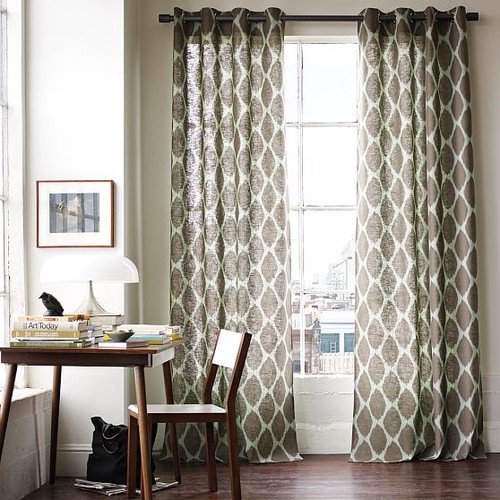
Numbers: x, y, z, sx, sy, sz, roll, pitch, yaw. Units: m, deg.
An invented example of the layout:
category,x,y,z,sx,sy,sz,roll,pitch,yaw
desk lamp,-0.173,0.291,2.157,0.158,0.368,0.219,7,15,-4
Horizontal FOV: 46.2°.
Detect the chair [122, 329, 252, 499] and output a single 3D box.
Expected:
category,x,y,z,sx,sy,sz,roll,pitch,yaw
chair,-0.397,0.809,3.110,0.653,1.277,0.598,3,-7,-12
